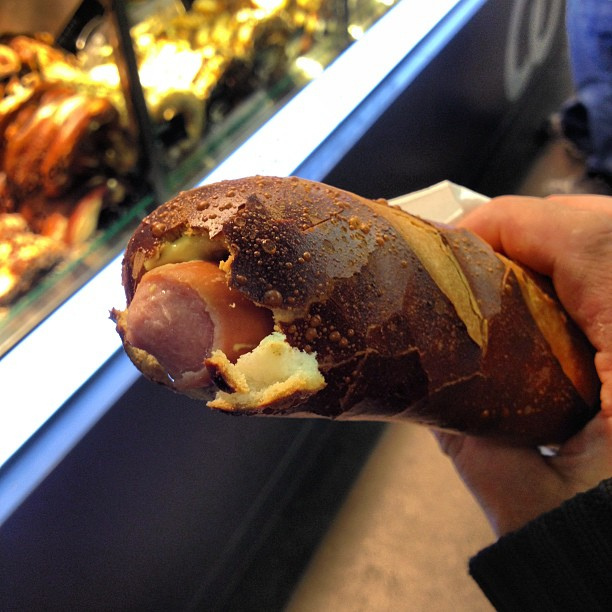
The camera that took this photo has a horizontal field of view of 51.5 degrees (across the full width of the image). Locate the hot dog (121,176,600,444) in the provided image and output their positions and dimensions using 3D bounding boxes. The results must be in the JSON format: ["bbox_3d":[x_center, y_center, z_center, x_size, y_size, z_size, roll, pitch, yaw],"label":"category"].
[{"bbox_3d":[0.094,0.053,0.784,0.298,0.623,0.197,-10,73,48],"label":"hot dog"}]
